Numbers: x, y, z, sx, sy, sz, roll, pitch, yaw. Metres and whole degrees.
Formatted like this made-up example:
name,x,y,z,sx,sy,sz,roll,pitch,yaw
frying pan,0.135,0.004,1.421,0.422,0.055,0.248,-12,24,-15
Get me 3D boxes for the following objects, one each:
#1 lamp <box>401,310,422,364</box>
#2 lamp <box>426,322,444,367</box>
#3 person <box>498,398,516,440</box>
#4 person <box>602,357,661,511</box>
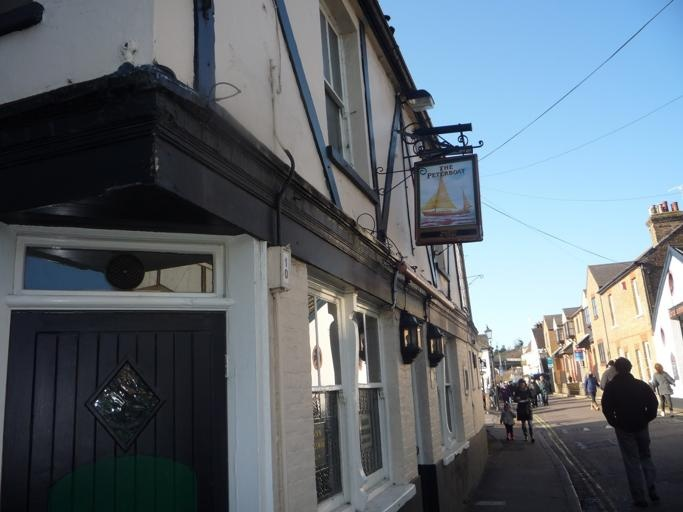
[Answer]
name,x,y,z,sx,sy,sz,roll,pitch,yaw
lamp,0.967,1.142,7.739,0.260,0.714,0.275,0,-13,-3
lamp,1.581,1.528,9.423,0.214,0.737,0.729,-7,-15,14
person,5.646,5.684,18.886,0.535,1.207,0.318,-20,-48,27
person,4.265,2.560,8.173,0.741,2.128,0.665,-11,-15,29
